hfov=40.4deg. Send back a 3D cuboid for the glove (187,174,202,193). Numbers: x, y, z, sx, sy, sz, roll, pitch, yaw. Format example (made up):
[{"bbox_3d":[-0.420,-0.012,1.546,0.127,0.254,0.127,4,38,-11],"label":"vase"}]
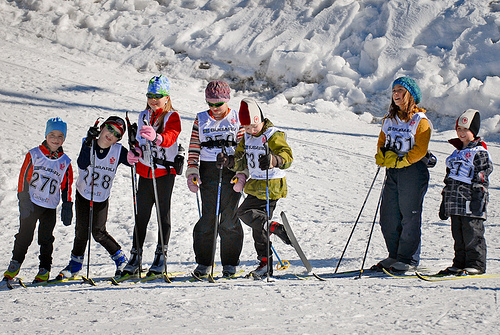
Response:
[{"bbox_3d":[-1.186,0.314,14.486,0.270,0.341,0.136,-3,2,0],"label":"glove"}]

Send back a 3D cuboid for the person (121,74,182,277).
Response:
[{"bbox_3d":[-2.087,0.175,14.501,1.040,2.957,0.756,7,3,-6],"label":"person"}]

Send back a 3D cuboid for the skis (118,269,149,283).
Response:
[{"bbox_3d":[-2.458,2.265,14.315,0.646,0.088,0.052,-19,-25,-19],"label":"skis"}]

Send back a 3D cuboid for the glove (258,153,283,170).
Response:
[{"bbox_3d":[0.443,-0.136,14.077,0.491,0.276,0.196,4,4,-38],"label":"glove"}]

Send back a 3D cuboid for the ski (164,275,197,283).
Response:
[{"bbox_3d":[-1.453,2.313,14.166,0.627,0.104,0.171,6,3,-9],"label":"ski"}]

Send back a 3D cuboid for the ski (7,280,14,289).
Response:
[{"bbox_3d":[-4.988,2.413,14.160,0.122,0.037,0.123,57,19,20],"label":"ski"}]

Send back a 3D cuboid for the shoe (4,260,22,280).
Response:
[{"bbox_3d":[-5.017,2.144,14.384,0.192,0.225,0.530,10,26,-3],"label":"shoe"}]

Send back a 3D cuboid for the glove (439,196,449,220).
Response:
[{"bbox_3d":[4.191,0.895,14.777,0.139,0.388,0.291,4,21,8],"label":"glove"}]

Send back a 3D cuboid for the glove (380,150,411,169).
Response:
[{"bbox_3d":[3.117,-0.195,14.518,0.452,0.181,0.331,-3,29,-10],"label":"glove"}]

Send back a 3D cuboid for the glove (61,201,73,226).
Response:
[{"bbox_3d":[-3.932,0.958,14.582,0.288,0.469,0.149,2,8,20],"label":"glove"}]

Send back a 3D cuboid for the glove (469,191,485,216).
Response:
[{"bbox_3d":[4.829,0.728,14.420,0.359,0.462,0.168,2,2,12],"label":"glove"}]

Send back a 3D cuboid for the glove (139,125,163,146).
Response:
[{"bbox_3d":[-2.056,-0.695,14.251,0.436,0.190,0.328,33,-9,5],"label":"glove"}]

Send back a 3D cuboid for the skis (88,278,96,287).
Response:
[{"bbox_3d":[-3.269,2.347,14.084,0.079,0.064,0.276,-3,45,-47],"label":"skis"}]

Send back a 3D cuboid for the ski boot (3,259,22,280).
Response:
[{"bbox_3d":[-5.033,2.115,14.404,0.200,0.233,0.551,15,17,-9],"label":"ski boot"}]

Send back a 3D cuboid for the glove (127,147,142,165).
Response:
[{"bbox_3d":[-2.476,-0.257,14.398,0.263,0.347,0.184,15,1,27],"label":"glove"}]

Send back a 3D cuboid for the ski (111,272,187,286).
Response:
[{"bbox_3d":[-2.141,2.307,14.242,0.878,0.099,0.126,-9,13,-30],"label":"ski"}]

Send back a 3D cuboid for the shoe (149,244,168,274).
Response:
[{"bbox_3d":[-1.944,1.885,14.537,0.263,0.591,0.604,11,27,23],"label":"shoe"}]

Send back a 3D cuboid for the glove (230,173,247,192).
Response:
[{"bbox_3d":[-0.224,0.297,14.273,0.276,0.373,0.125,31,-6,14],"label":"glove"}]

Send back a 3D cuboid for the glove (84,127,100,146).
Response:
[{"bbox_3d":[-3.340,-0.683,14.400,0.237,0.361,0.109,33,10,12],"label":"glove"}]

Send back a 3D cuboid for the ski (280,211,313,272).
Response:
[{"bbox_3d":[1.052,1.694,15.354,0.155,1.484,0.173,-32,9,18],"label":"ski"}]

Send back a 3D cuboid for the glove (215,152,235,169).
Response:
[{"bbox_3d":[-0.494,-0.169,14.264,0.278,0.369,0.135,2,4,4],"label":"glove"}]
